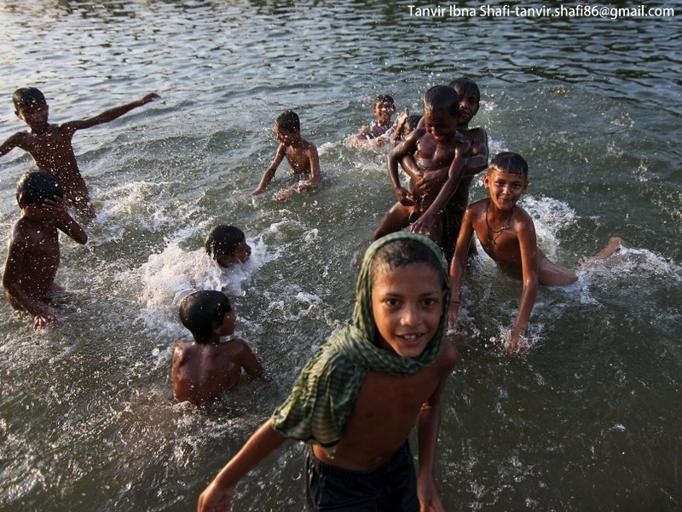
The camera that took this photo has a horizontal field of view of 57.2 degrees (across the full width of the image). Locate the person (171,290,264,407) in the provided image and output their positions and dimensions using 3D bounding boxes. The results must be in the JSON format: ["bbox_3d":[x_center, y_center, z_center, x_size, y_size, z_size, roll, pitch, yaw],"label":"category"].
[{"bbox_3d":[-1.221,0.947,6.136,0.669,0.865,0.607,13,36,14],"label":"person"}]
